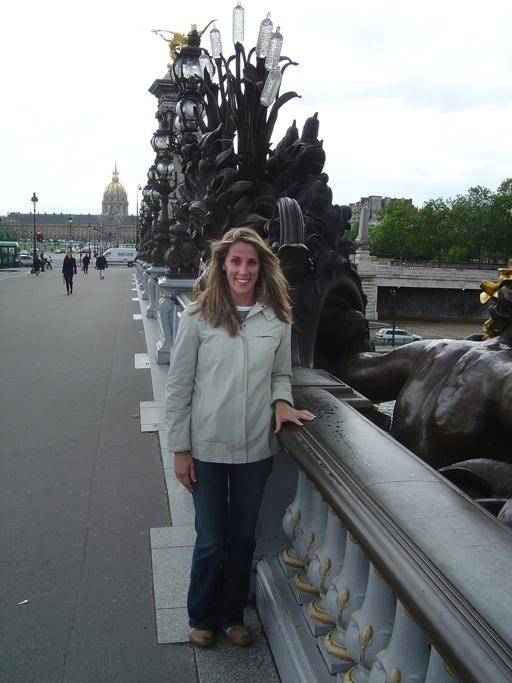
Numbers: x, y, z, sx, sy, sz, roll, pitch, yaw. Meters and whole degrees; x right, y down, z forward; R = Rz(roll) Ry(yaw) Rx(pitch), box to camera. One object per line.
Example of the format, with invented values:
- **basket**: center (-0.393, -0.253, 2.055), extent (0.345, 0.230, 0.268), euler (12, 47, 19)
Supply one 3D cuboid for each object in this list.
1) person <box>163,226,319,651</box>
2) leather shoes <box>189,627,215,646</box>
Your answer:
- **person**: center (-0.116, 0.451, 2.286), extent (0.545, 1.876, 0.386), euler (2, 8, -8)
- **leather shoes**: center (-0.258, 1.344, 2.459), extent (0.053, 0.057, 0.140), euler (4, -9, -44)
